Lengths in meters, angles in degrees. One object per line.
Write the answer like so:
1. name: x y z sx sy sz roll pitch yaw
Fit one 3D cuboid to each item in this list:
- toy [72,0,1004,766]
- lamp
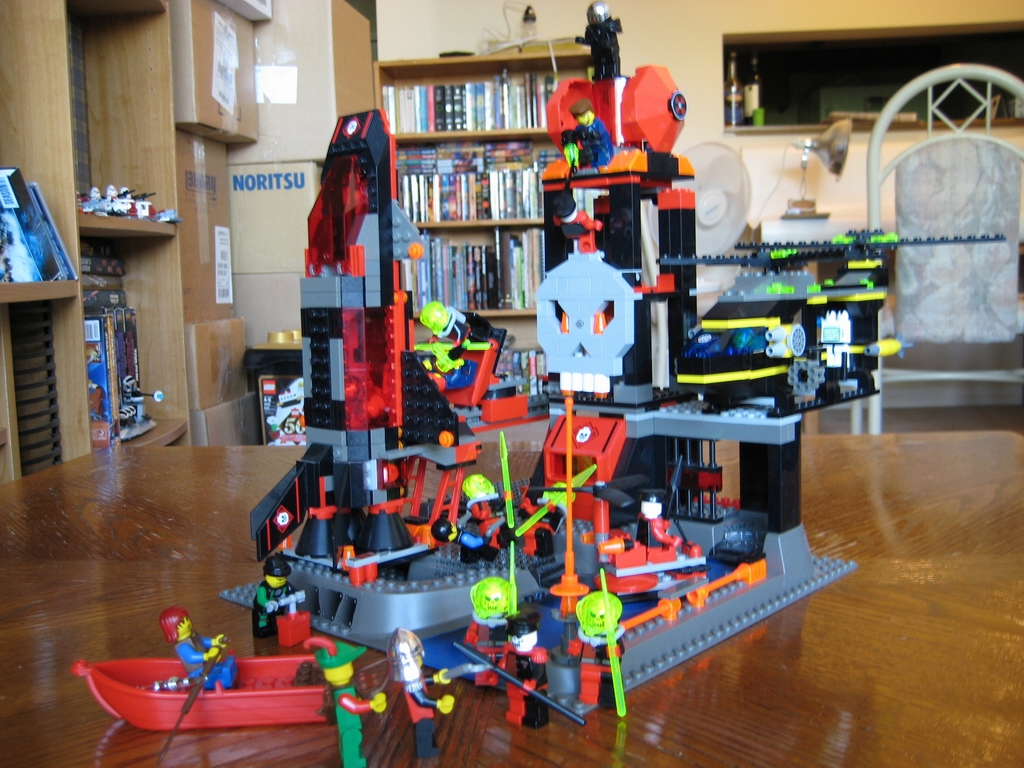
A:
1. toy: 0.060 0.098 1.287 0.882 0.893 1.033 4 7 43
2. lamp: 1.291 -0.920 3.953 0.245 0.453 0.273 4 4 12
